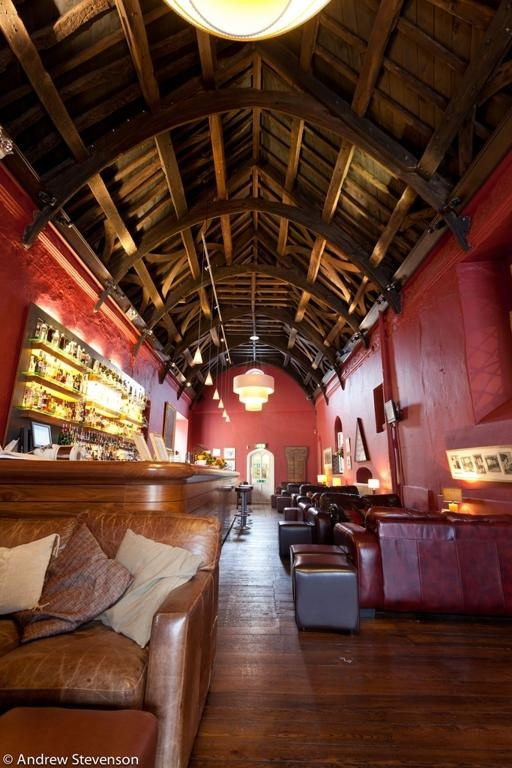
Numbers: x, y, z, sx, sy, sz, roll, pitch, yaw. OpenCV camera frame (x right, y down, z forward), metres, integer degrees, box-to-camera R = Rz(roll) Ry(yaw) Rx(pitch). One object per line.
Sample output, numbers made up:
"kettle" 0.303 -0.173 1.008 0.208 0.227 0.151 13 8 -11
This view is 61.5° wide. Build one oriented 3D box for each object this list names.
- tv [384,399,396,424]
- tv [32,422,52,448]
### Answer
"tv" 2.125 0.261 6.868 0.134 0.317 0.339 -1 -10 -8
"tv" -2.449 0.429 4.889 0.132 0.257 0.607 2 -9 -14
